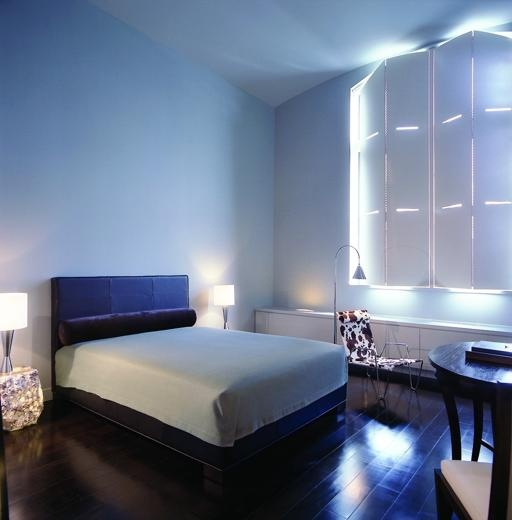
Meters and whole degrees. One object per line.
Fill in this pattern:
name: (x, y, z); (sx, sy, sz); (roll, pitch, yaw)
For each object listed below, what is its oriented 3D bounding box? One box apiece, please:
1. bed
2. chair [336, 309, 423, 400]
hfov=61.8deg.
bed: (-0.498, 0.702, 3.698); (2.328, 1.072, 1.755); (2, 2, 42)
chair: (1.248, 0.818, 4.280); (0.678, 1.118, 0.867); (2, -4, -39)
